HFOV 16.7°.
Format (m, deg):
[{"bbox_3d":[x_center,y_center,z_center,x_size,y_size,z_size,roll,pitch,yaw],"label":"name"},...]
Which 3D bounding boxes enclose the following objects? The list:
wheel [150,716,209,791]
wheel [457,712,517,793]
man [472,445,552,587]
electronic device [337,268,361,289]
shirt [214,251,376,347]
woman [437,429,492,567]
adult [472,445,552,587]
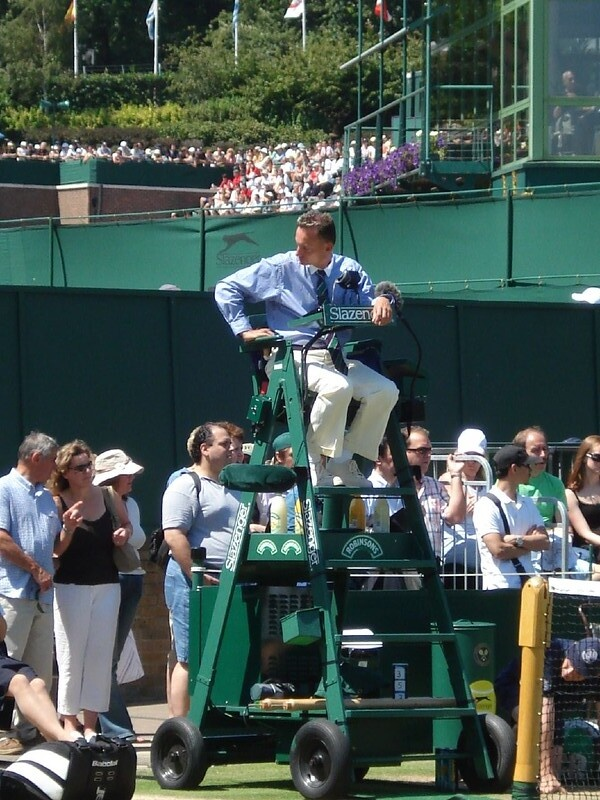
[{"bbox_3d":[-0.708,2.096,12.099,0.131,0.464,0.363,2,3,-39],"label":"wheel"},{"bbox_3d":[1.101,2.085,12.047,0.140,0.502,0.388,3,-8,-38],"label":"wheel"},{"bbox_3d":[1.420,1.048,13.651,0.416,1.524,0.359,-4,14,-11],"label":"man"},{"bbox_3d":[0.306,-0.721,12.424,0.102,0.138,0.094,8,15,-12],"label":"electronic device"},{"bbox_3d":[-0.113,-0.412,12.623,0.902,0.732,0.539,11,-2,-4],"label":"shirt"},{"bbox_3d":[1.262,0.721,14.381,0.216,0.838,0.241,-8,31,0],"label":"woman"},{"bbox_3d":[1.407,1.054,13.629,0.428,1.567,0.389,-3,12,-14],"label":"adult"}]
